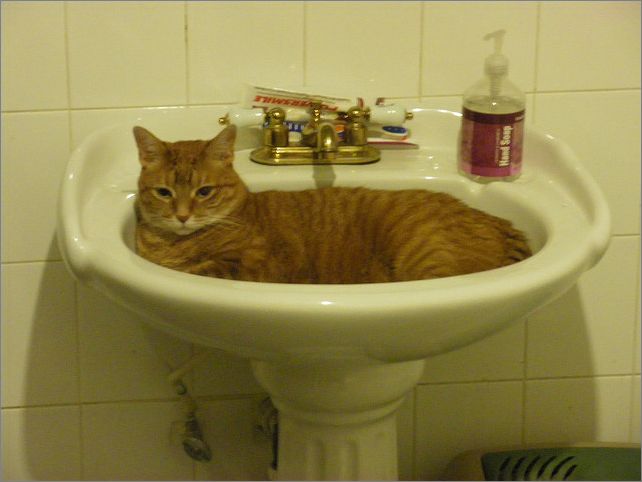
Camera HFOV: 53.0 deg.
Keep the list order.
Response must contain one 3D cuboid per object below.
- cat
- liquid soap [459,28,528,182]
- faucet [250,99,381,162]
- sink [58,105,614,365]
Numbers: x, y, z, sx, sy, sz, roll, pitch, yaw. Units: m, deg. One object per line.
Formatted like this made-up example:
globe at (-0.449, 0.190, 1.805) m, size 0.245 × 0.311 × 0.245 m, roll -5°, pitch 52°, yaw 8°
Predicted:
cat at (0.051, -0.064, 1.272) m, size 0.775 × 0.175 × 0.204 m, roll -2°, pitch 21°, yaw -9°
liquid soap at (0.375, -0.261, 1.273) m, size 0.189 × 0.294 × 0.135 m, roll -6°, pitch 30°, yaw 8°
faucet at (0.001, -0.217, 1.334) m, size 0.293 × 0.067 × 0.194 m, roll -7°, pitch 28°, yaw -19°
sink at (0.037, -0.043, 1.188) m, size 0.975 × 0.390 × 0.631 m, roll -5°, pitch 14°, yaw -13°
